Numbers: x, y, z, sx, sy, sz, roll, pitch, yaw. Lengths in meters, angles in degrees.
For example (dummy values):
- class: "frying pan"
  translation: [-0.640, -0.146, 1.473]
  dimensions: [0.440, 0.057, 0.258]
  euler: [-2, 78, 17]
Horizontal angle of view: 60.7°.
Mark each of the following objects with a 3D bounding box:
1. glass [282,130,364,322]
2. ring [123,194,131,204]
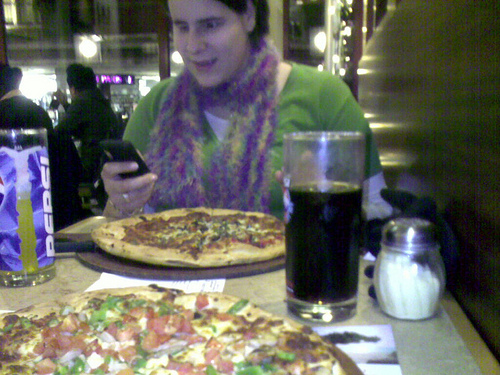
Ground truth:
- class: "glass"
  translation: [0.138, 0.069, 0.768]
  dimensions: [0.143, 0.321, 0.145]
  euler: [-4, 4, -26]
- class: "ring"
  translation: [-0.399, 0.037, 1.388]
  dimensions: [0.018, 0.026, 0.024]
  euler: [-11, -2, -13]
